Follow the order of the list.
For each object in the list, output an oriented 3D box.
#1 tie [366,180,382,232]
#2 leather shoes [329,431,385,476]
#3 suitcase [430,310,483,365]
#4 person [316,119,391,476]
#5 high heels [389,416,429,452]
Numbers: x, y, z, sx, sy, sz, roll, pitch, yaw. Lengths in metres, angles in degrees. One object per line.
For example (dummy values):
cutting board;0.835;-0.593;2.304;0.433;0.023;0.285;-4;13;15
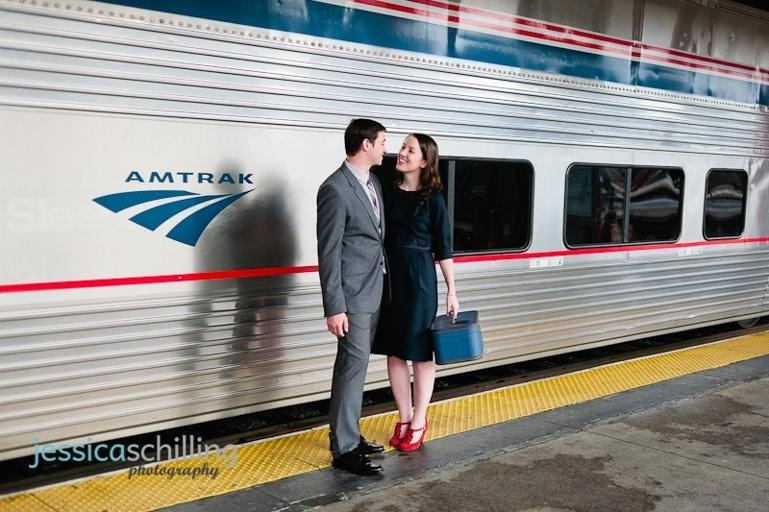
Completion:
tie;-0.072;-0.410;3.699;0.088;0.312;0.250;-9;6;-10
leather shoes;-0.202;1.502;3.658;0.286;0.092;0.295;1;9;9
suitcase;0.551;0.625;3.909;0.462;0.321;0.437;-5;12;0
person;-0.257;0.299;3.662;0.491;2.636;0.502;1;8;-2
high heels;0.191;1.488;4.007;0.186;0.114;0.324;3;11;34
